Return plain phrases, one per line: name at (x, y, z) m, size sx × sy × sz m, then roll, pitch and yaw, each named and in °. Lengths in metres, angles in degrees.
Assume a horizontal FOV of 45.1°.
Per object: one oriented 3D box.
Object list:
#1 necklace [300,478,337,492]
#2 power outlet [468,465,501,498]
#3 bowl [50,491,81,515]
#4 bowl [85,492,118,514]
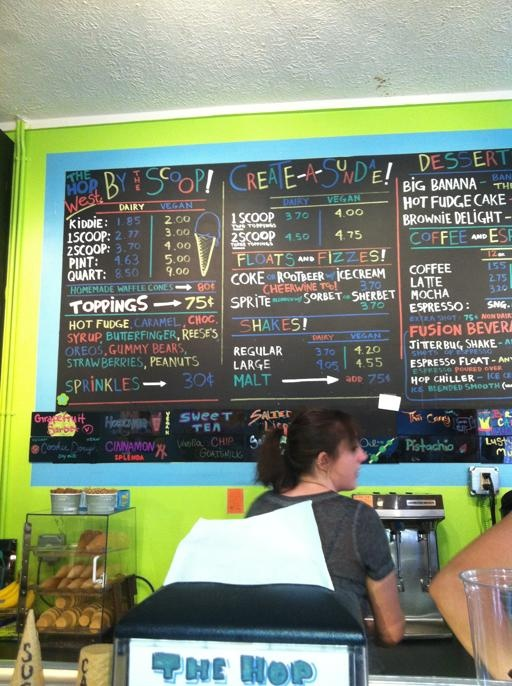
necklace at (0.159, 0.343, 1.494) m, size 0.042 × 0.018 × 0.056 m, roll -5°, pitch 7°, yaw -40°
power outlet at (0.926, 0.559, 2.488) m, size 0.142 × 0.115 × 0.067 m, roll 1°, pitch -10°, yaw 8°
bowl at (-0.759, 0.628, 2.436) m, size 0.105 × 0.054 × 0.097 m, roll 2°, pitch -6°, yaw 0°
bowl at (-0.616, 0.631, 2.429) m, size 0.108 × 0.059 × 0.084 m, roll -8°, pitch -13°, yaw 28°
